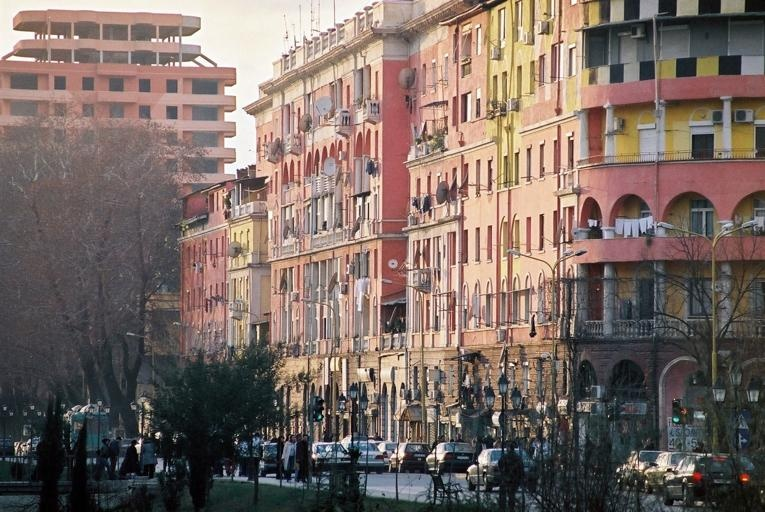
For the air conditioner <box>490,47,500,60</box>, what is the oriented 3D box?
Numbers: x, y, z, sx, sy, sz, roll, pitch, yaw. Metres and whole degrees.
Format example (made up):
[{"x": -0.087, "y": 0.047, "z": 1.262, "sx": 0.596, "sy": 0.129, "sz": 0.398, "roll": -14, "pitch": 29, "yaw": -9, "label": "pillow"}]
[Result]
[{"x": 7.116, "y": -12.721, "z": 132.219, "sx": 0.604, "sy": 0.890, "sz": 0.851, "roll": 0, "pitch": -3, "yaw": 3, "label": "air conditioner"}]

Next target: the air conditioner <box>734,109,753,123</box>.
[{"x": 20.659, "y": -7.984, "z": 120.625, "sx": 1.175, "sy": 0.924, "sz": 0.670, "roll": 1, "pitch": -17, "yaw": 1, "label": "air conditioner"}]

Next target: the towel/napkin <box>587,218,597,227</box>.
[{"x": 12.297, "y": -1.933, "z": 123.019, "sx": 0.405, "sy": 0.366, "sz": 0.496, "roll": 2, "pitch": -5, "yaw": 9, "label": "towel/napkin"}]

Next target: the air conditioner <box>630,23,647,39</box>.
[{"x": 14.682, "y": -12.966, "z": 121.213, "sx": 0.810, "sy": 0.688, "sz": 0.617, "roll": -1, "pitch": -15, "yaw": 9, "label": "air conditioner"}]

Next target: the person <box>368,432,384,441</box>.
[{"x": -0.337, "y": 12.004, "z": 139.807, "sx": 0.568, "sy": 0.466, "sz": 0.921, "roll": 8, "pitch": -15, "yaw": -42, "label": "person"}]

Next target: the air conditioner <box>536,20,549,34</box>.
[{"x": 9.723, "y": -13.780, "z": 127.025, "sx": 0.594, "sy": 0.877, "sz": 1.200, "roll": 1, "pitch": -2, "yaw": -5, "label": "air conditioner"}]

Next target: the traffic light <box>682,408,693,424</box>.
[{"x": 16.371, "y": 8.601, "z": 113.394, "sx": 0.380, "sy": 0.734, "sz": 0.728, "roll": -8, "pitch": -12, "yaw": 36, "label": "traffic light"}]

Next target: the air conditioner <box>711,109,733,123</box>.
[{"x": 19.471, "y": -7.953, "z": 120.868, "sx": 1.174, "sy": 1.219, "sz": 0.680, "roll": 0, "pitch": -7, "yaw": 15, "label": "air conditioner"}]

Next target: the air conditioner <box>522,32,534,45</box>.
[{"x": 8.892, "y": -13.293, "z": 128.380, "sx": 0.684, "sy": 0.920, "sz": 0.631, "roll": 0, "pitch": -2, "yaw": 1, "label": "air conditioner"}]
